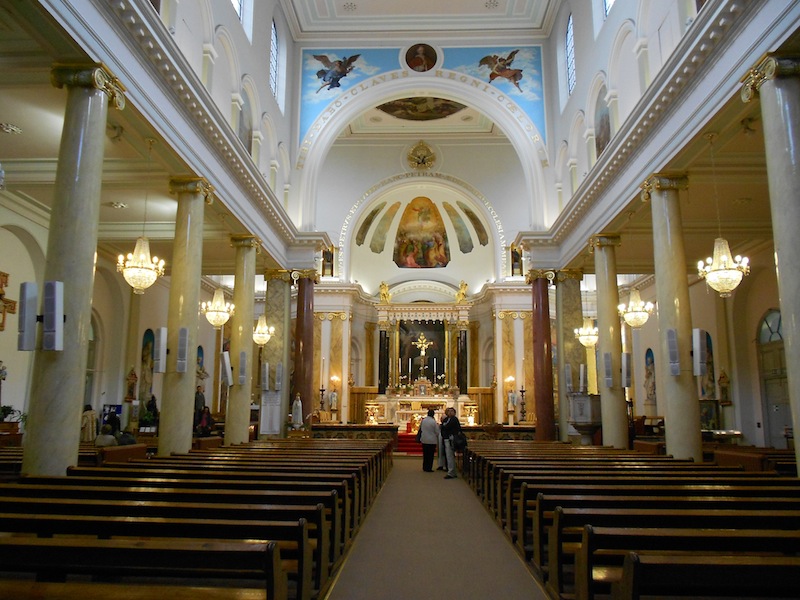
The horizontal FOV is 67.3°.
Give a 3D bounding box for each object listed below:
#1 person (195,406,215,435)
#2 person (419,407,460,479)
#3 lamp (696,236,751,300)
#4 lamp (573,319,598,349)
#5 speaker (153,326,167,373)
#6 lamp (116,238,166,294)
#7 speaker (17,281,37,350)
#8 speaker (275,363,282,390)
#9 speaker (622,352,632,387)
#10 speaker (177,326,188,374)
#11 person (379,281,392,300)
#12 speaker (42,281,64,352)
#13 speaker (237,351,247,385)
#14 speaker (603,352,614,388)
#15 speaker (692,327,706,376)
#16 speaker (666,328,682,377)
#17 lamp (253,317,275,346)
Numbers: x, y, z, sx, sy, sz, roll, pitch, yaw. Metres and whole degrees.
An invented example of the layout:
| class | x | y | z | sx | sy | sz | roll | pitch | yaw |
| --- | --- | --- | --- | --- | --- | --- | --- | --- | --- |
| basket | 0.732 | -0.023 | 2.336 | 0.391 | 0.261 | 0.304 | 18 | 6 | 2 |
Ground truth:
| class | x | y | z | sx | sy | sz | roll | pitch | yaw |
| --- | --- | --- | --- | --- | --- | --- | --- | --- | --- |
| person | -5.628 | 3.476 | 17.297 | 0.511 | 0.801 | 1.858 | 2 | -6 | -18 |
| person | 1.024 | 3.377 | 14.425 | 0.860 | 1.640 | 2.002 | 2 | -6 | -13 |
| lamp | 5.915 | -0.672 | 10.748 | 0.759 | 1.000 | 0.746 | -8 | -8 | 40 |
| lamp | 5.672 | 0.989 | 18.123 | 0.825 | 1.112 | 0.872 | 2 | -10 | 7 |
| speaker | -4.514 | 0.945 | 11.359 | 0.203 | 0.797 | 0.384 | 3 | -6 | -22 |
| lamp | -5.262 | -0.686 | 12.233 | 0.902 | 1.120 | 0.905 | -3 | -9 | 27 |
| speaker | -4.774 | 0.206 | 7.724 | 0.217 | 0.851 | 0.348 | 4 | -6 | -32 |
| speaker | -3.640 | 2.357 | 18.168 | 0.202 | 0.795 | 0.163 | 3 | -6 | -24 |
| speaker | 5.294 | 1.646 | 14.052 | 0.152 | 0.808 | 0.398 | 0 | -5 | 8 |
| speaker | -4.184 | 0.987 | 11.568 | 0.186 | 0.904 | 0.099 | 3 | -6 | -22 |
| person | -0.722 | -0.458 | 29.992 | 0.551 | 1.099 | 1.432 | 1 | -6 | -1 |
| speaker | -4.521 | 0.215 | 7.846 | 0.234 | 0.907 | 0.173 | 4 | -7 | -36 |
| speaker | -3.966 | 1.731 | 15.168 | 0.200 | 0.827 | 0.271 | 1 | -5 | -3 |
| speaker | 5.045 | 1.710 | 14.500 | 0.210 | 0.862 | 0.265 | -1 | -6 | 18 |
| speaker | 5.347 | 0.923 | 10.730 | 0.196 | 0.797 | 0.276 | -2 | -6 | 27 |
| speaker | 5.063 | 0.967 | 11.090 | 0.214 | 0.856 | 0.223 | -2 | -6 | 21 |
| lamp | -4.117 | 0.929 | 18.102 | 0.518 | 0.849 | 0.879 | 0 | -6 | 4 |
